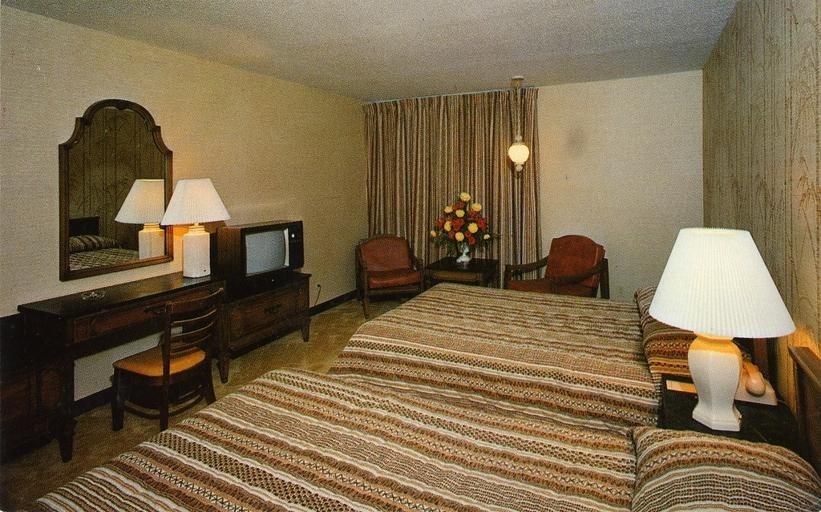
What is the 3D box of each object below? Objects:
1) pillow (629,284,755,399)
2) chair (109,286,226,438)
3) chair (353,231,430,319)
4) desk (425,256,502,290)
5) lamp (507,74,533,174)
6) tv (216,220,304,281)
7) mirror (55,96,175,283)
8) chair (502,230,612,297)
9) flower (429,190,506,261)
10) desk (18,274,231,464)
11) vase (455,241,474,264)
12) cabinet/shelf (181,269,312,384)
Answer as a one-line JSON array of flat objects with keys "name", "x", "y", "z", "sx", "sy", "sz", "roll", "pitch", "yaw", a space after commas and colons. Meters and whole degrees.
[{"name": "pillow", "x": 1.982, "y": 0.630, "z": 3.945, "sx": 0.580, "sy": 0.370, "sz": 0.588, "roll": 1, "pitch": 6, "yaw": 13}, {"name": "chair", "x": -2.035, "y": 0.855, "z": 4.677, "sx": 0.775, "sy": 1.016, "sz": 0.804, "roll": 4, "pitch": 6, "yaw": 43}, {"name": "chair", "x": -0.280, "y": 0.217, "z": 7.168, "sx": 0.859, "sy": 0.872, "sz": 0.708, "roll": -6, "pitch": 13, "yaw": -21}, {"name": "desk", "x": 0.647, "y": 0.072, "z": 6.769, "sx": 0.614, "sy": 0.514, "sz": 0.462, "roll": 4, "pitch": 11, "yaw": 24}, {"name": "lamp", "x": 1.293, "y": -1.510, "z": 6.616, "sx": 0.273, "sy": 1.064, "sz": 0.643, "roll": 0, "pitch": 11, "yaw": 11}, {"name": "tv", "x": -1.573, "y": -0.070, "z": 5.793, "sx": 0.518, "sy": 0.495, "sz": 0.933, "roll": 5, "pitch": 10, "yaw": 21}, {"name": "mirror", "x": -2.583, "y": -0.606, "z": 4.977, "sx": 0.052, "sy": 1.497, "sz": 0.991, "roll": 14, "pitch": 14, "yaw": 32}, {"name": "chair", "x": 1.655, "y": 0.129, "z": 6.359, "sx": 0.968, "sy": 0.903, "sz": 0.831, "roll": -5, "pitch": 8, "yaw": -36}, {"name": "flower", "x": 0.723, "y": -0.392, "z": 7.217, "sx": 0.962, "sy": 0.870, "sz": 0.838, "roll": 2, "pitch": 8, "yaw": 16}, {"name": "desk", "x": -2.307, "y": 0.894, "z": 4.393, "sx": 0.582, "sy": 0.858, "sz": 1.427, "roll": 3, "pitch": 7, "yaw": 17}, {"name": "vase", "x": 0.673, "y": -0.029, "z": 6.924, "sx": 0.235, "sy": 0.260, "sz": 0.254, "roll": -2, "pitch": 3, "yaw": -41}, {"name": "cabinet/shelf", "x": -1.656, "y": 0.633, "z": 5.795, "sx": 0.574, "sy": 0.716, "sz": 1.188, "roll": 7, "pitch": 13, "yaw": 33}]
